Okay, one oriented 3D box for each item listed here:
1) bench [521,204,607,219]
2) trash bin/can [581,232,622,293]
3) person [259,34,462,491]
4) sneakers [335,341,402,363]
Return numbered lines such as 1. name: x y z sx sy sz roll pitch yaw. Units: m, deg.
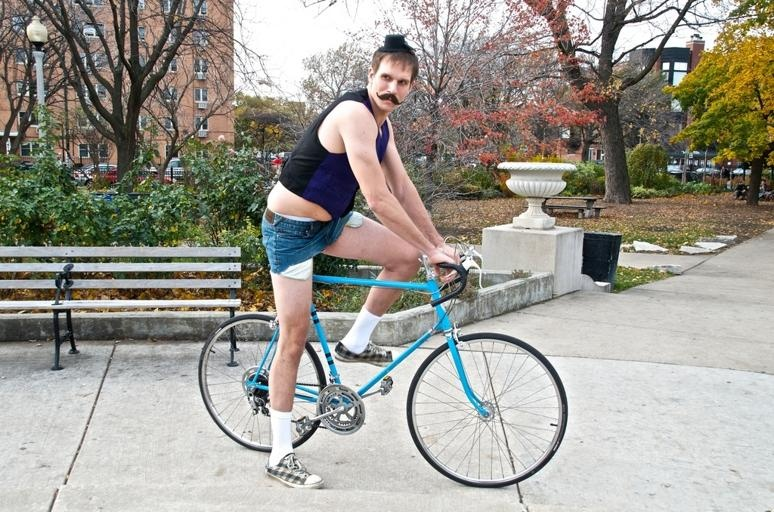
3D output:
1. bench: 6.494 -1.572 23.902 1.686 0.423 2.371 -1 5 -14
2. trash bin/can: 3.443 0.063 11.100 0.564 0.914 0.377 2 6 20
3. person: -0.285 0.058 5.111 1.284 3.311 0.658 -1 6 -10
4. sneakers: -0.152 0.756 5.390 0.505 0.196 0.163 0 8 -10
